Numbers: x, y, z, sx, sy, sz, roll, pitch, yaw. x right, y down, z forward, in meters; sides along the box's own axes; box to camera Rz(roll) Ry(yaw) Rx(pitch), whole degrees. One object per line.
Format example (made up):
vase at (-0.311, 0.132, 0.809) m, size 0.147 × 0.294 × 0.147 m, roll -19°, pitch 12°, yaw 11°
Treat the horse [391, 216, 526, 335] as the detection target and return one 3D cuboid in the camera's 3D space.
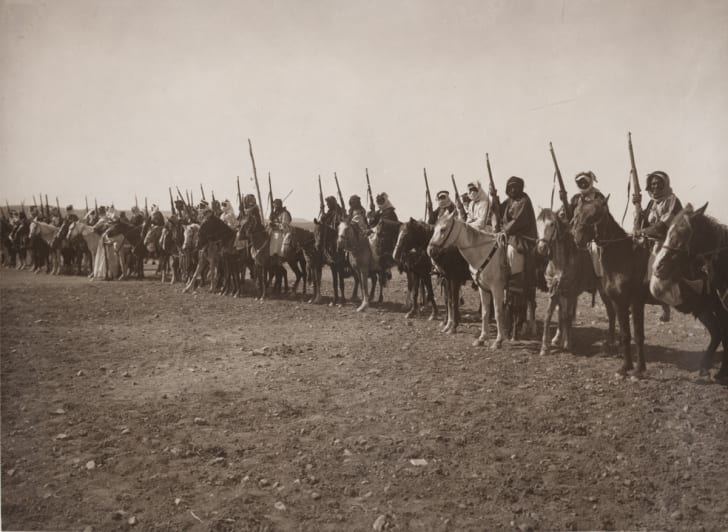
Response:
horse at (3.072, 0.399, 13.016) m, size 4.011 × 2.695 × 1.203 m, roll 6°, pitch -17°, yaw -42°
